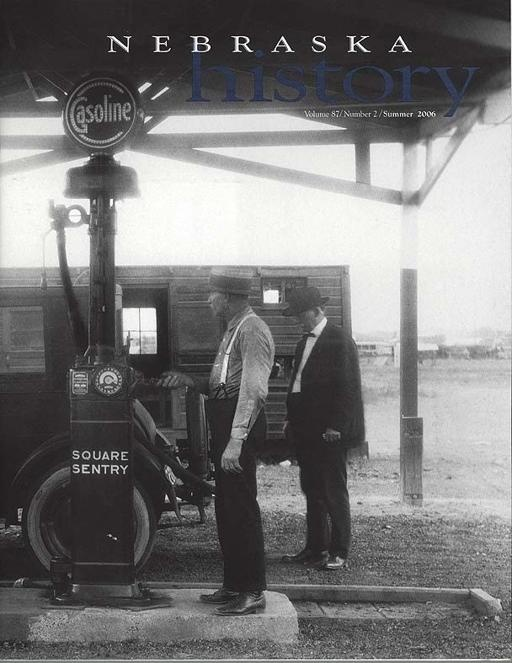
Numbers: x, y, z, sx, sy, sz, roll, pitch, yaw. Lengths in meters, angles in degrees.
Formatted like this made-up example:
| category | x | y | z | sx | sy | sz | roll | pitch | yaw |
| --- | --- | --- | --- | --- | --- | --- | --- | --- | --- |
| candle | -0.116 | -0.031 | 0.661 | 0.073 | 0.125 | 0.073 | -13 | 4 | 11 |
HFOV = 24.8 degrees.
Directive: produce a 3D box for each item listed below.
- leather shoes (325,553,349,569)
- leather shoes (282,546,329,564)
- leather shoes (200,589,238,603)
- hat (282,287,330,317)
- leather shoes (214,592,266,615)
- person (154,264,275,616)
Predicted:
| category | x | y | z | sx | sy | sz | roll | pitch | yaw |
| --- | --- | --- | --- | --- | --- | --- | --- | --- | --- |
| leather shoes | 0.383 | 1.083 | 5.498 | 0.106 | 0.066 | 0.045 | 8 | -12 | -26 |
| leather shoes | 0.238 | 1.073 | 5.552 | 0.225 | 0.127 | 0.086 | 4 | -6 | 1 |
| leather shoes | -0.167 | 1.223 | 5.333 | 0.165 | 0.086 | 0.073 | 0 | -7 | 6 |
| hat | 0.218 | -0.149 | 5.415 | 0.122 | 0.068 | 0.154 | -8 | 15 | 35 |
| leather shoes | -0.068 | 1.233 | 5.300 | 0.227 | 0.138 | 0.097 | 2 | -8 | 0 |
| person | -0.105 | 0.511 | 5.223 | 0.406 | 1.554 | 0.301 | 1 | 4 | 44 |
